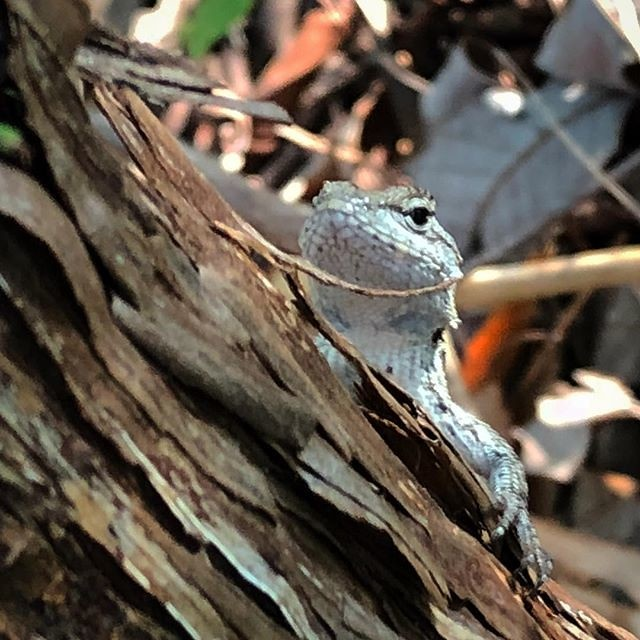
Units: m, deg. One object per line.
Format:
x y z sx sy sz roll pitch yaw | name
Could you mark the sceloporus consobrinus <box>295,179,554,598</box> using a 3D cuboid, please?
0.206 0.105 1.395 0.315 0.577 0.256 -6 44 35 | sceloporus consobrinus
